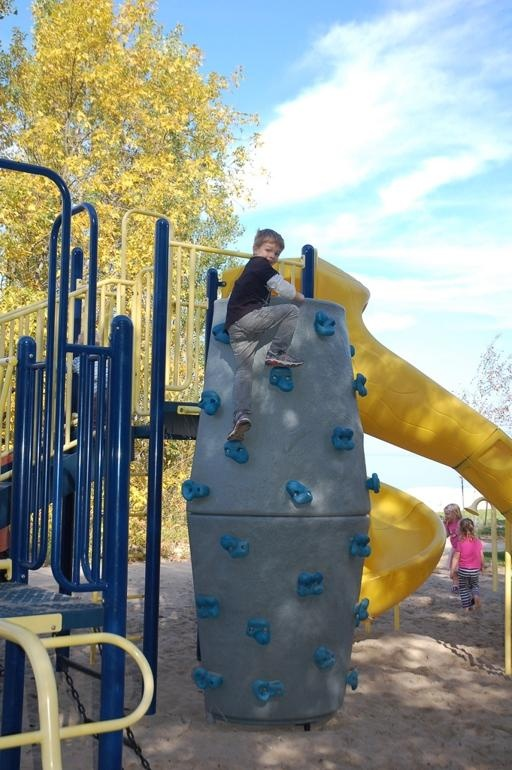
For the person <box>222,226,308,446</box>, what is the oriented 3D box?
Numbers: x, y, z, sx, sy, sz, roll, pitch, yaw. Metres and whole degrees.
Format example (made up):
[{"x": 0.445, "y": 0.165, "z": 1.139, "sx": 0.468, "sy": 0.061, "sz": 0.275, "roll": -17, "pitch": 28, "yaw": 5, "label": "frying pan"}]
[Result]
[{"x": 0.056, "y": -0.299, "z": 3.802, "sx": 0.448, "sy": 1.235, "sz": 0.373, "roll": 3, "pitch": -9, "yaw": -11, "label": "person"}]

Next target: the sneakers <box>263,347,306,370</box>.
[{"x": 0.163, "y": -0.142, "z": 3.798, "sx": 0.249, "sy": 0.125, "sz": 0.087, "roll": 2, "pitch": 3, "yaw": 0, "label": "sneakers"}]

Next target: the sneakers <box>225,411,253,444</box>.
[{"x": -0.081, "y": 0.240, "z": 3.622, "sx": 0.081, "sy": 0.092, "sz": 0.203, "roll": 6, "pitch": -39, "yaw": -11, "label": "sneakers"}]
